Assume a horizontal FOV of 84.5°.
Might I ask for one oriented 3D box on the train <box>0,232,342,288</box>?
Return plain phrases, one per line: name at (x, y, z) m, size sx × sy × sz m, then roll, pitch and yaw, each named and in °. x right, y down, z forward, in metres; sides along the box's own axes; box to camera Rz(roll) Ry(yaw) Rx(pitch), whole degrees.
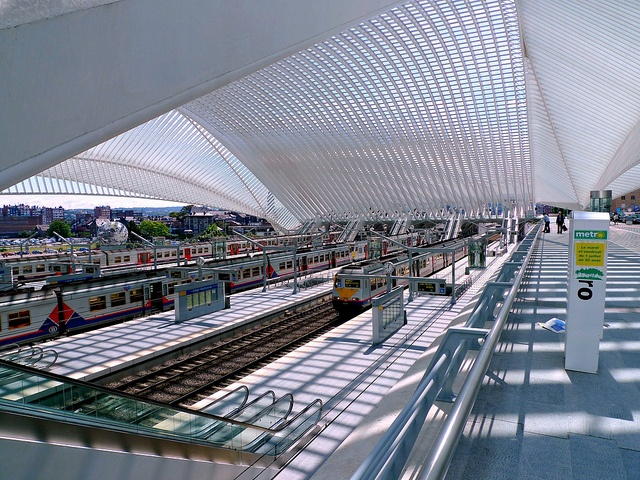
train at (-15.055, 1.953, 37.376) m, size 40.228 × 4.485 × 3.834 m, roll 1°, pitch -6°, yaw -30°
